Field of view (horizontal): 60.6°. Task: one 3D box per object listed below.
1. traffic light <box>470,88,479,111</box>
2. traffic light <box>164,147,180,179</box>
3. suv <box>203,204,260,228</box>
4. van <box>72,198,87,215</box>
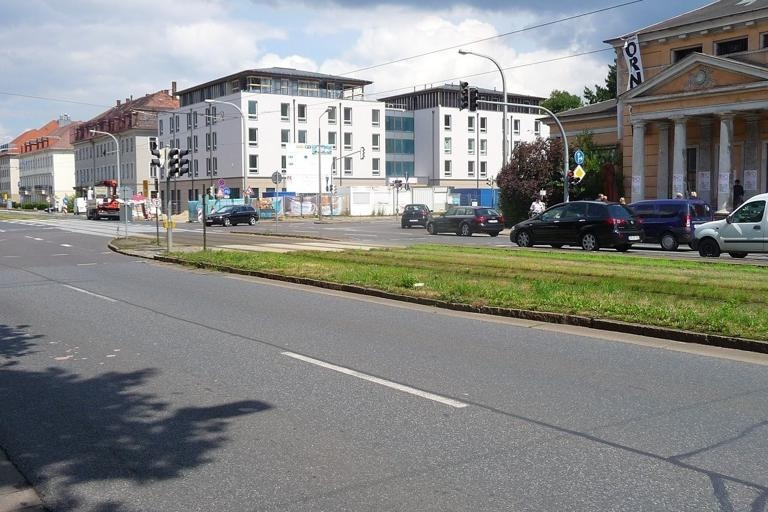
[{"bbox_3d":[4.265,-7.566,31.800,0.376,1.021,0.628,-1,8,-2],"label":"traffic light"},{"bbox_3d":[-7.558,-3.349,23.816,0.425,1.043,1.806,-3,9,-18],"label":"traffic light"},{"bbox_3d":[-11.623,-3.150,50.585,1.605,1.282,3.546,-3,-3,41],"label":"suv"},{"bbox_3d":[-40.273,-6.694,88.268,1.282,2.078,2.067,-3,8,-20],"label":"van"}]
